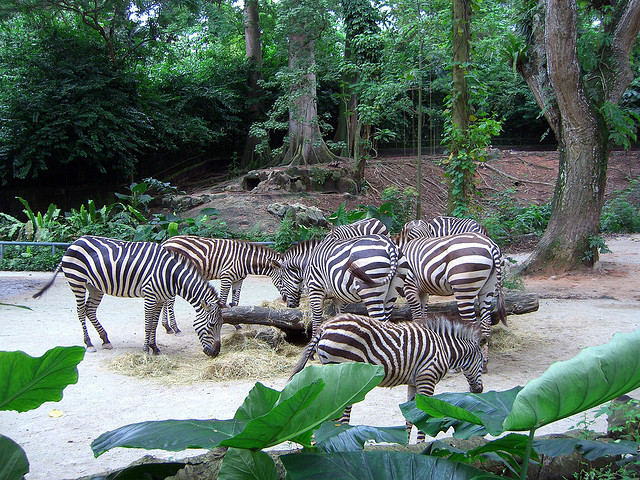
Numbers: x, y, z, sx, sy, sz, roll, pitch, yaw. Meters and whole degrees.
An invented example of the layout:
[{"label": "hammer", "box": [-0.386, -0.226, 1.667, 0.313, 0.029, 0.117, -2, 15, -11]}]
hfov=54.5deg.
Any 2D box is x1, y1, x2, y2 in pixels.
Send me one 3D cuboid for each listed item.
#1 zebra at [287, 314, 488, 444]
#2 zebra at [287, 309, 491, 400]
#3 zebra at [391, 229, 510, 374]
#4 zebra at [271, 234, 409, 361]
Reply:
[{"label": "zebra", "box": [0.771, 1.475, 6.811, 2.414, 1.314, 0.586, 8, 3, -17]}, {"label": "zebra", "box": [0.765, 1.414, 6.806, 2.348, 1.278, 0.601, 6, 4, -18]}, {"label": "zebra", "box": [1.660, 0.780, 9.453, 0.824, 2.003, 2.842, 5, -5, -32]}, {"label": "zebra", "box": [0.270, 0.761, 9.145, 0.895, 1.555, 2.765, -6, -1, -39]}]
